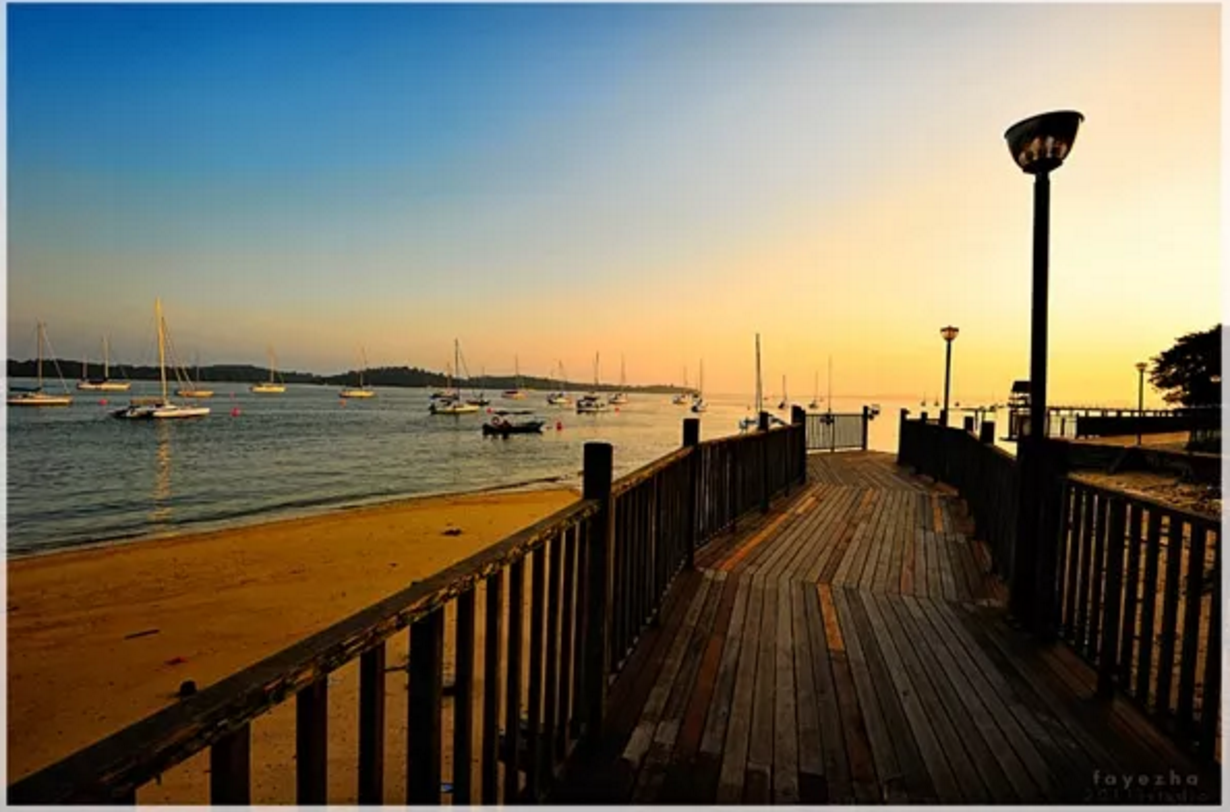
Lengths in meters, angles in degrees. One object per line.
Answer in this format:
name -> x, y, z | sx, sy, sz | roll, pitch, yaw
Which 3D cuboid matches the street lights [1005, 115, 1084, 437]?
street lights -> 4.748, -1.448, 10.279 | 0.758, 3.665, 0.392 | 2, 4, 25
